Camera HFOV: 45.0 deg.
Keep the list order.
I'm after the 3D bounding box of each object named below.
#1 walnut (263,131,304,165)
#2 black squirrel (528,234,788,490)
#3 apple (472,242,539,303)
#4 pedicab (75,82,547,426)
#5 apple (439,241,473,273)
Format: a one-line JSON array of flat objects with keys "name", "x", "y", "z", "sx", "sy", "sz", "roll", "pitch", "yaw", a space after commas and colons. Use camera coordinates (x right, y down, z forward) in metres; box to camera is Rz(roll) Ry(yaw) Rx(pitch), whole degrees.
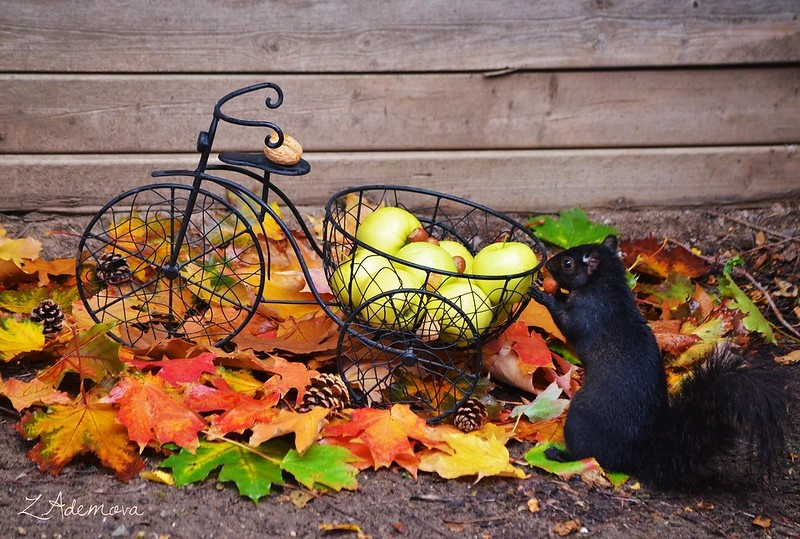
[{"name": "walnut", "x": -0.516, "y": -0.506, "z": 4.227, "sx": 0.167, "sy": 0.136, "sz": 0.091, "roll": 33, "pitch": -22, "yaw": 7}, {"name": "black squirrel", "x": 1.074, "y": 0.455, "z": 4.180, "sx": 1.284, "sy": 0.933, "sz": 0.453, "roll": 23, "pitch": 16, "yaw": 39}, {"name": "apple", "x": 0.464, "y": -0.007, "z": 4.302, "sx": 0.267, "sy": 0.279, "sz": 0.267, "roll": -7, "pitch": 10, "yaw": 5}, {"name": "pedicab", "x": -0.500, "y": 0.064, "z": 4.908, "sx": 2.519, "sy": 1.567, "sz": 1.261, "roll": 11, "pitch": 21, "yaw": 0}, {"name": "apple", "x": 0.262, "y": -0.059, "z": 4.436, "sx": 0.145, "sy": 0.081, "sz": 0.145, "roll": 32, "pitch": 2, "yaw": -14}]
